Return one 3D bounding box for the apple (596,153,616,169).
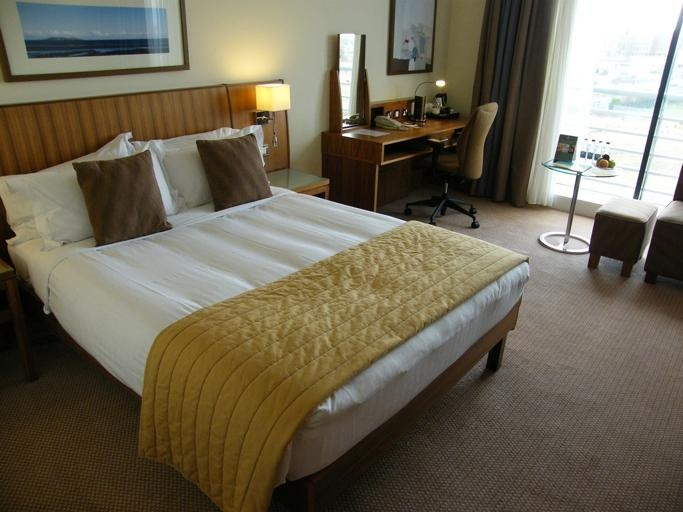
[{"bbox_3d":[2.483,-0.905,4.737,0.119,0.079,0.166,4,28,15],"label":"apple"}]

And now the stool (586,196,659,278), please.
[{"bbox_3d":[2.515,-0.142,4.469,0.324,0.447,0.617,17,36,29],"label":"stool"}]

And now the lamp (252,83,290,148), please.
[{"bbox_3d":[-0.613,-1.286,4.548,0.296,0.516,0.279,-13,21,-42],"label":"lamp"}]

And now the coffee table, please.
[{"bbox_3d":[2.431,-0.489,5.142,0.669,0.832,0.688,24,37,39],"label":"coffee table"}]

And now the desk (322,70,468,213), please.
[{"bbox_3d":[0.593,-1.335,5.560,0.705,1.382,1.357,25,42,33],"label":"desk"}]

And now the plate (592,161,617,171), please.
[{"bbox_3d":[2.478,-0.857,4.686,0.172,0.083,0.086,7,26,15],"label":"plate"}]

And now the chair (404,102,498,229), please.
[{"bbox_3d":[1.188,-1.024,5.449,0.790,1.302,0.839,15,21,30],"label":"chair"}]

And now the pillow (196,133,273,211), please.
[{"bbox_3d":[-0.796,-0.648,3.934,0.276,0.502,0.538,20,30,32],"label":"pillow"}]
